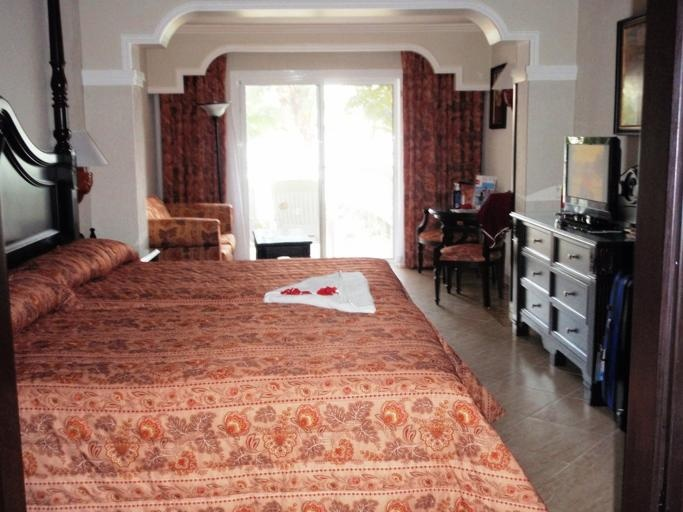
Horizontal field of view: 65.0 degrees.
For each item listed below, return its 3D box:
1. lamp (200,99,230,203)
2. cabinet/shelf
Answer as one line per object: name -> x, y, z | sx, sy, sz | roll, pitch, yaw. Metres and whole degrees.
lamp -> -1.610, -1.206, 7.033 | 0.339, 1.534, 0.360 | 7, 15, 32
cabinet/shelf -> 1.533, 0.339, 3.531 | 0.396, 0.872, 1.141 | -1, 15, 1
